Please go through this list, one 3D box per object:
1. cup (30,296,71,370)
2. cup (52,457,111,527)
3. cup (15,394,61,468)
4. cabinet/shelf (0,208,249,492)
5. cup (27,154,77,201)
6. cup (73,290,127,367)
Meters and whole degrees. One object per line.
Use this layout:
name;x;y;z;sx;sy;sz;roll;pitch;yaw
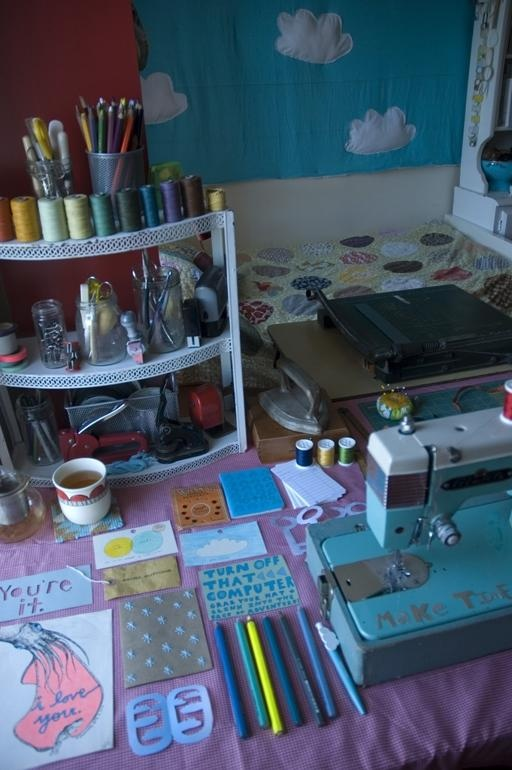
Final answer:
cup;-0.447;-0.108;1.209;0.067;0.121;0.129;-14;29;-18
cup;-0.361;0.215;1.192;0.124;0.118;0.132;0;35;0
cup;-0.522;0.093;1.341;0.092;0.189;0.092;8;46;-8
cabinet/shelf;-0.315;-0.067;1.261;0.573;0.551;0.194;-14;34;-16
cup;-0.401;-0.416;1.132;0.081;0.089;0.082;2;33;-1
cup;-0.349;-0.127;1.240;0.114;0.152;0.116;1;31;-1
